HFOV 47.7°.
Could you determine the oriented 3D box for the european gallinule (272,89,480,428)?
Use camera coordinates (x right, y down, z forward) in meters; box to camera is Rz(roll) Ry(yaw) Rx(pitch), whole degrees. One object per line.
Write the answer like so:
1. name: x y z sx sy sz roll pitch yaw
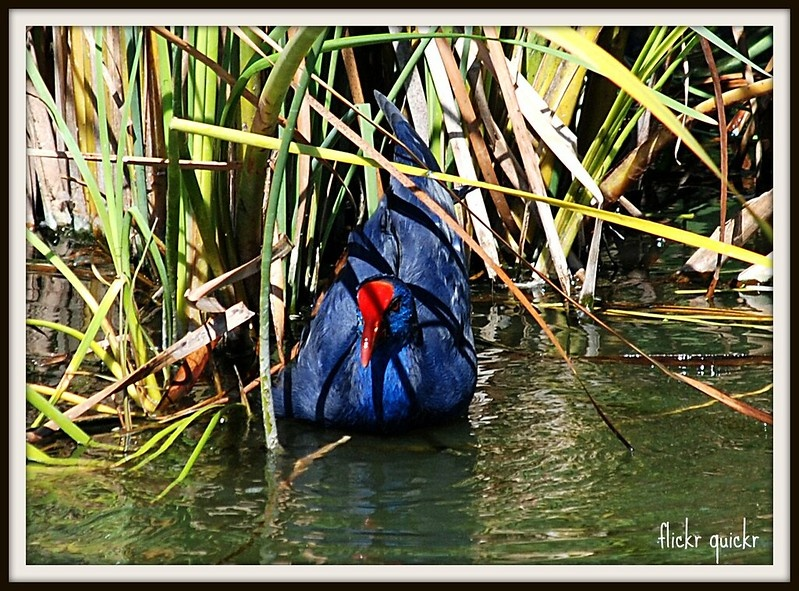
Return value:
1. european gallinule: -0.093 0.032 5.386 1.288 1.524 0.744 -2 -4 -15
